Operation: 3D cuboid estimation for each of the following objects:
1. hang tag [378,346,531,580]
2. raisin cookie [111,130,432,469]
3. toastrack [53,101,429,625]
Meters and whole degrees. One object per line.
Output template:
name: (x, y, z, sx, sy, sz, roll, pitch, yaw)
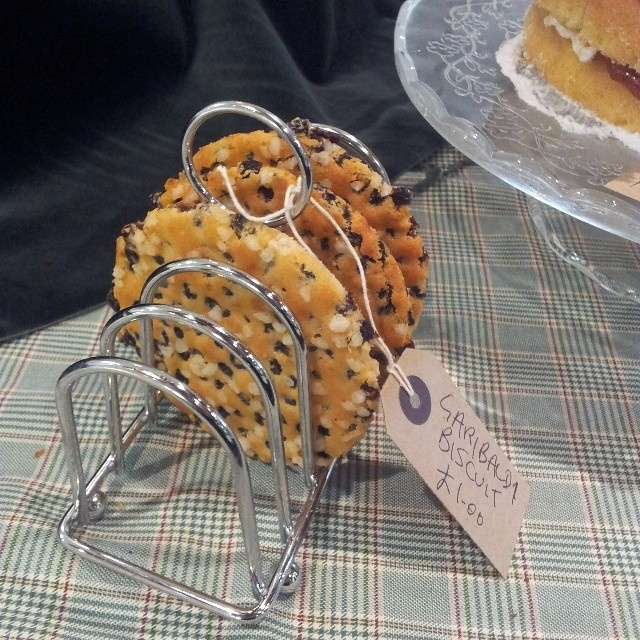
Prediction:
hang tag: (0.118, 0.116, 0.710, 0.004, 0.273, 0.111, -11, 37, 42)
raisin cookie: (-0.050, -0.030, 0.831, 0.391, 0.296, 0.247, -15, 35, -26)
toastrack: (-0.058, 0.004, 0.732, 0.329, 0.402, 0.446, 15, 47, 8)
